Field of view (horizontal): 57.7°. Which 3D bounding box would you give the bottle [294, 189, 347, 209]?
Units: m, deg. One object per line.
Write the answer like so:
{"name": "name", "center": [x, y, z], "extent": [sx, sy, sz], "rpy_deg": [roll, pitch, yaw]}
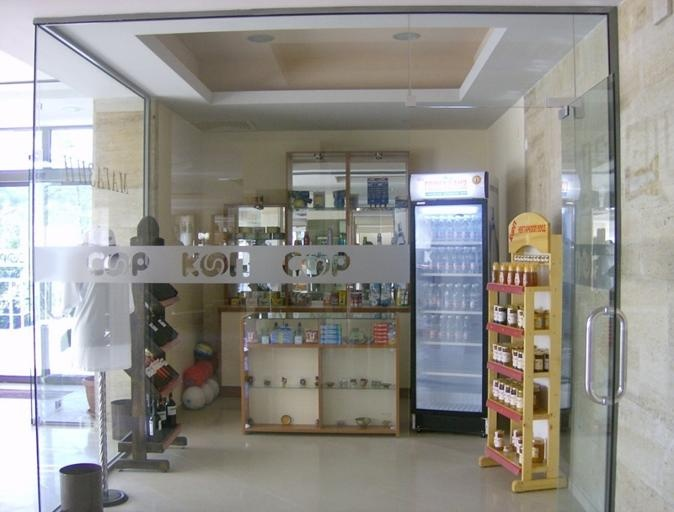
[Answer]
{"name": "bottle", "center": [-0.119, -0.338, 3.706], "extent": [0.335, 0.120, 0.039], "rpy_deg": [-1, -2, 9]}

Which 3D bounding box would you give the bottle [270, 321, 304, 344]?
{"name": "bottle", "center": [-0.301, 0.471, 3.748], "extent": [0.130, 0.110, 0.045], "rpy_deg": [0, -3, 1]}

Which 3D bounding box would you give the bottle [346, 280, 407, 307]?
{"name": "bottle", "center": [0.250, 0.243, 3.744], "extent": [0.366, 0.137, 0.025], "rpy_deg": [-1, -2, 6]}

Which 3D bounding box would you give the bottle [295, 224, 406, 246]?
{"name": "bottle", "center": [0.077, -0.119, 3.742], "extent": [0.671, 0.109, 0.029], "rpy_deg": [-1, -2, 2]}
